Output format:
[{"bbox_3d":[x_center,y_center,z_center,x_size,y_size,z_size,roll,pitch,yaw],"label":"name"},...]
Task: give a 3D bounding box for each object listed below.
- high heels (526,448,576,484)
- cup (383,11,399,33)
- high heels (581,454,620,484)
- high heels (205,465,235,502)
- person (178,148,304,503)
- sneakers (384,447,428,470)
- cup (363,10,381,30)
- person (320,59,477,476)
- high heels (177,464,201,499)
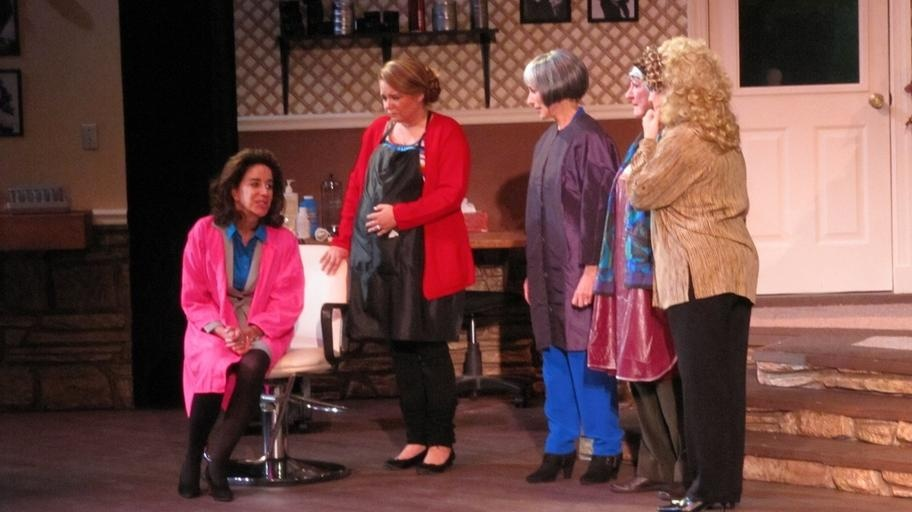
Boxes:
[{"bbox_3d":[0.509,1.251,4.846,0.378,0.191,0.126,2,0,-8],"label":"high heels"},{"bbox_3d":[-0.494,-1.816,6.325,0.122,0.157,0.085,-4,13,-14],"label":"cup"},{"bbox_3d":[0.839,1.249,4.828,0.255,0.107,0.125,2,-3,-36],"label":"high heels"},{"bbox_3d":[-1.347,1.305,4.689,0.098,0.111,0.264,5,-2,-32],"label":"high heels"},{"bbox_3d":[-1.318,0.369,4.839,0.546,1.929,0.853,8,15,35],"label":"person"},{"bbox_3d":[-0.296,1.241,5.051,0.221,0.083,0.116,3,-4,-27],"label":"sneakers"},{"bbox_3d":[-0.634,-1.806,6.336,0.167,0.162,0.125,2,8,2],"label":"cup"},{"bbox_3d":[-0.314,0.058,4.956,0.827,2.433,0.584,0,13,4],"label":"person"},{"bbox_3d":[-1.541,1.293,4.727,0.141,0.178,0.071,0,13,5],"label":"high heels"}]
